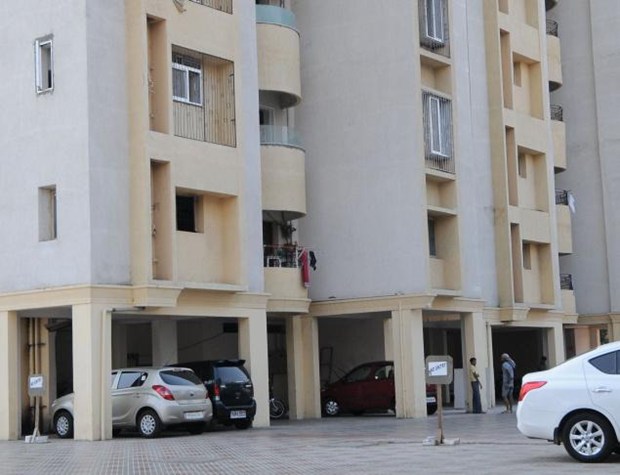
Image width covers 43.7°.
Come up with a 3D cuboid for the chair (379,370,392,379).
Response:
[{"bbox_3d":[2.608,4.780,26.941,0.224,0.417,0.362,8,-11,-35],"label":"chair"}]

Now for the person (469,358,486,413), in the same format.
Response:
[{"bbox_3d":[5.926,5.308,27.853,0.408,1.977,1.098,-5,-10,11],"label":"person"}]

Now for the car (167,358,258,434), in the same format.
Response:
[{"bbox_3d":[-2.196,4.236,21.183,1.410,1.545,2.446,3,-4,-37],"label":"car"}]

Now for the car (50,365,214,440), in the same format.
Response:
[{"bbox_3d":[-4.674,4.390,20.382,4.311,1.820,2.214,-6,-11,9],"label":"car"}]
